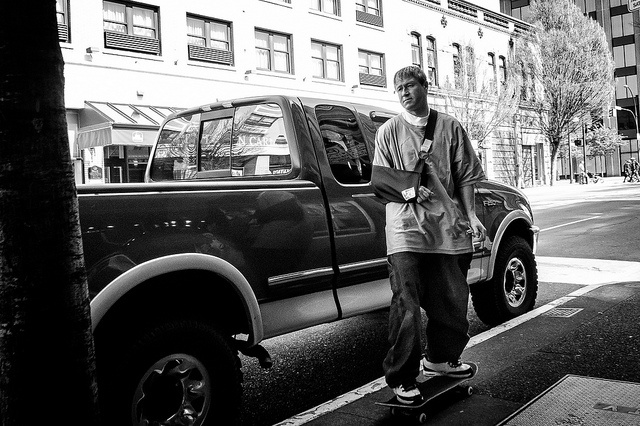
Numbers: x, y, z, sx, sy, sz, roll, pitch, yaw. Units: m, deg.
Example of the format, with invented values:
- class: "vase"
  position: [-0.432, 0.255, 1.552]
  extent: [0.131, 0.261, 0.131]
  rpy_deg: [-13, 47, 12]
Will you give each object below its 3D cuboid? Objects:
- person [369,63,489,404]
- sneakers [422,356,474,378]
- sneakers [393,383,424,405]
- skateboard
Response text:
- class: "person"
  position: [0.840, 0.130, 3.681]
  extent: [0.992, 2.033, 0.468]
  rpy_deg: [-5, 2, -23]
- class: "sneakers"
  position: [1.061, 1.291, 3.863]
  extent: [0.450, 0.197, 0.161]
  rpy_deg: [-2, 5, 2]
- class: "sneakers"
  position: [0.663, 1.347, 3.411]
  extent: [0.096, 0.119, 0.245]
  rpy_deg: [3, -13, -18]
- class: "skateboard"
  position: [0.867, 1.405, 3.586]
  extent: [0.289, 0.212, 1.087]
  rpy_deg: [-3, 1, 38]
